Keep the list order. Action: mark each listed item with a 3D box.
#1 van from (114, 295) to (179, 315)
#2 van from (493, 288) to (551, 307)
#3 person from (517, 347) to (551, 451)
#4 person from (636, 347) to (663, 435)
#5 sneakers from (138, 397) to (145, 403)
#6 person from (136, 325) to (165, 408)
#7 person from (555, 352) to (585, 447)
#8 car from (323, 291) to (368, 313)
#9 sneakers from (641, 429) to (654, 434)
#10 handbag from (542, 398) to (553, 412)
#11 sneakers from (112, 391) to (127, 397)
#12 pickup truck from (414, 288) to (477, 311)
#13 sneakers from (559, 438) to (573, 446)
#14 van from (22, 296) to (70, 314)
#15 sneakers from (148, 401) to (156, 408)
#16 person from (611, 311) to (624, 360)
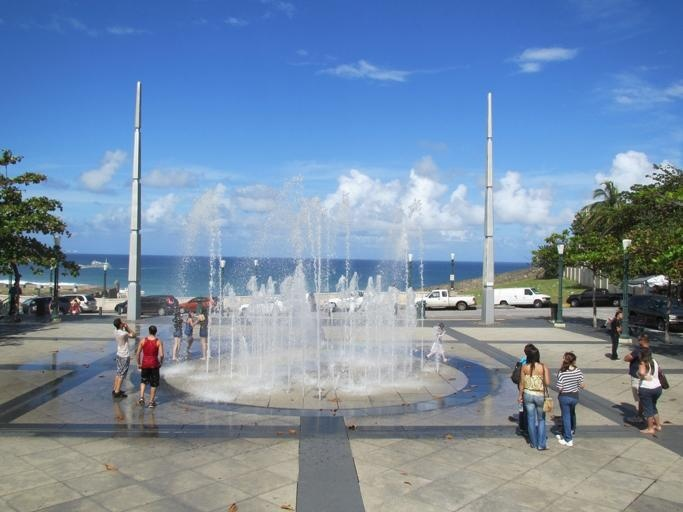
[{"bbox_3d":[-10.989,2.844,36.231,3.093,1.043,1.676,3,-1,1],"label":"van"},{"bbox_3d":[12.989,3.024,45.814,3.669,1.357,1.914,-2,0,14],"label":"van"},{"bbox_3d":[4.132,3.036,13.648,0.582,2.234,0.746,-1,-3,15],"label":"person"},{"bbox_3d":[7.039,3.094,14.469,0.506,1.883,0.560,-1,-3,27],"label":"person"},{"bbox_3d":[-4.982,3.630,15.855,0.161,0.138,0.310,1,-3,-20],"label":"sneakers"},{"bbox_3d":[-4.818,2.767,15.947,0.651,1.986,0.481,-1,-3,31],"label":"person"},{"bbox_3d":[5.029,3.120,14.004,0.523,2.034,1.098,-1,-3,19],"label":"person"},{"bbox_3d":[0.615,3.131,40.828,2.757,1.335,1.677,-4,1,21],"label":"car"},{"bbox_3d":[6.918,3.975,14.351,0.305,0.110,0.200,-1,-3,23],"label":"sneakers"},{"bbox_3d":[4.315,3.141,13.342,0.144,0.331,0.327,-1,0,5],"label":"handbag"},{"bbox_3d":[-5.782,3.601,16.412,0.449,0.179,0.149,0,4,-6],"label":"sneakers"},{"bbox_3d":[7.136,2.954,42.422,3.214,1.303,1.899,-1,-3,18],"label":"pickup truck"},{"bbox_3d":[4.853,4.067,13.813,0.126,0.129,0.277,1,1,-26],"label":"sneakers"},{"bbox_3d":[-16.202,2.760,35.022,2.534,1.179,1.456,2,-2,-8],"label":"van"},{"bbox_3d":[-4.677,3.699,15.712,0.205,0.104,0.251,1,-3,-13],"label":"sneakers"},{"bbox_3d":[9.365,2.682,21.703,0.365,1.637,1.283,-1,-3,22],"label":"person"}]
